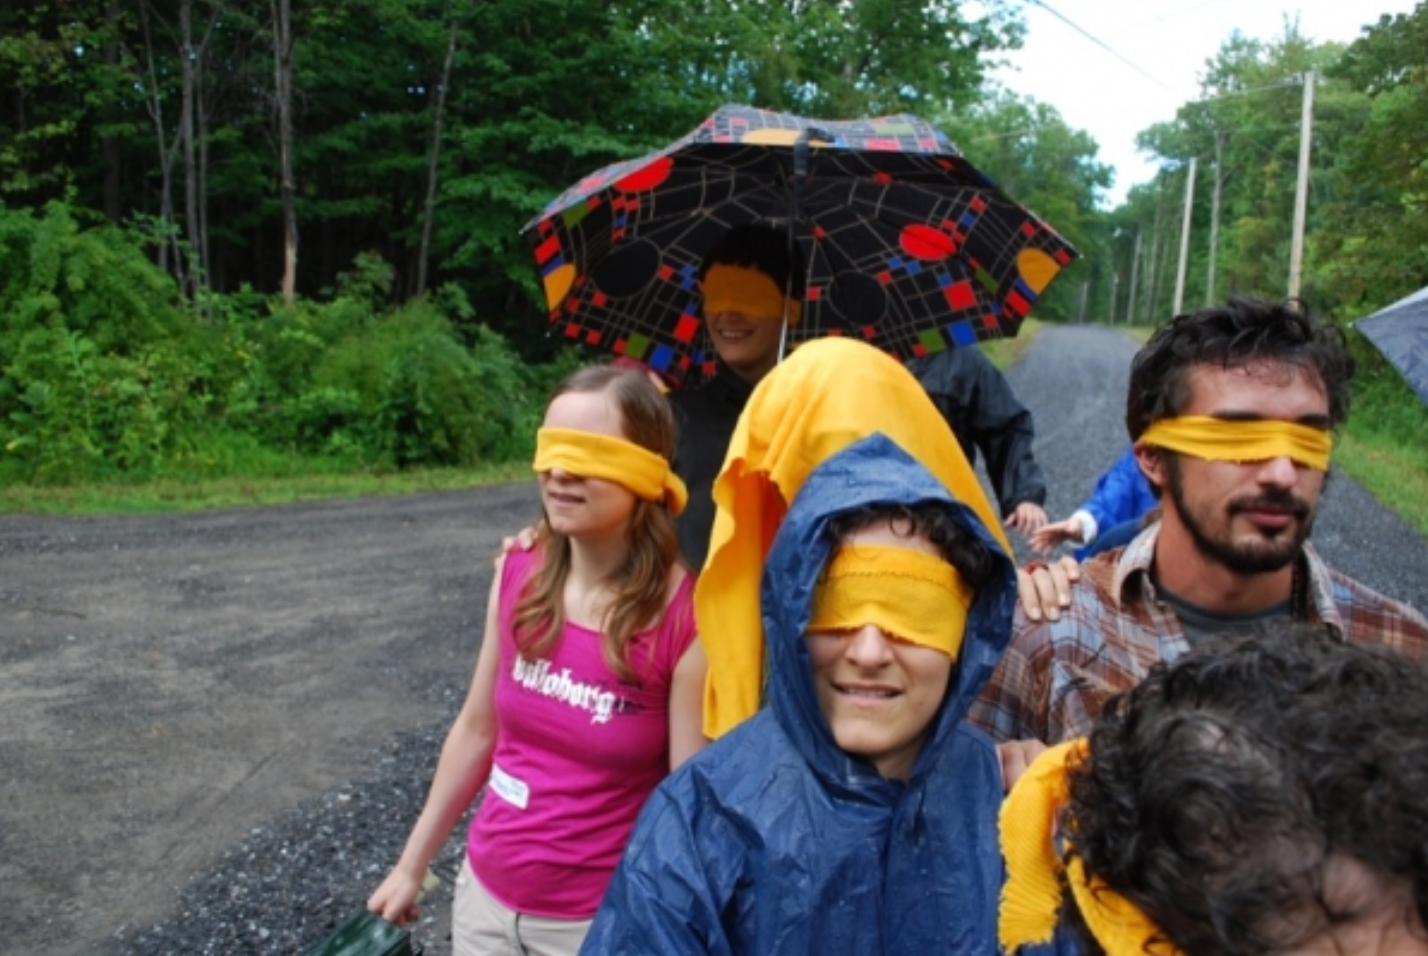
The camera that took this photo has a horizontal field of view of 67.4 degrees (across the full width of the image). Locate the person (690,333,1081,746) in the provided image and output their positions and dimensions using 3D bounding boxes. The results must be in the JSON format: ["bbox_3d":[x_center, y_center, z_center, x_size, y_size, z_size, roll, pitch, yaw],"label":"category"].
[{"bbox_3d":[0.402,0.141,3.481,1.059,1.435,0.997,0,9,0],"label":"person"}]
